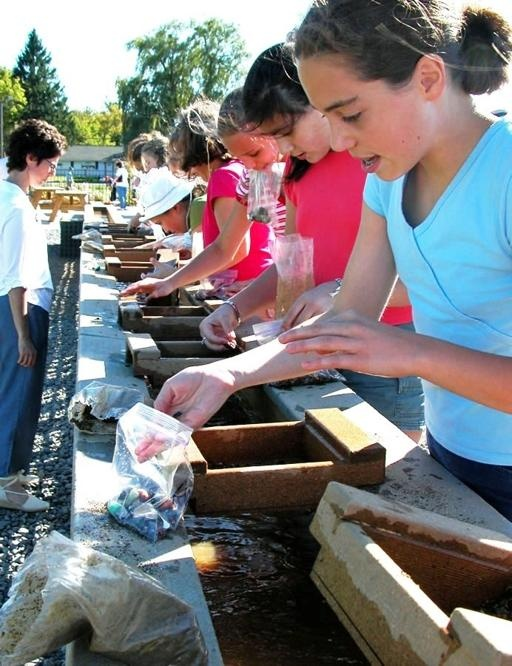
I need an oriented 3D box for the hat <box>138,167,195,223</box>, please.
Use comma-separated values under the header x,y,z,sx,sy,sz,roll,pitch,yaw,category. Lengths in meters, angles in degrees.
x,y,z,sx,sy,sz,roll,pitch,yaw,category
-0.834,-1.141,4.705,0.194,0.431,0.506,41,-16,-24,hat
